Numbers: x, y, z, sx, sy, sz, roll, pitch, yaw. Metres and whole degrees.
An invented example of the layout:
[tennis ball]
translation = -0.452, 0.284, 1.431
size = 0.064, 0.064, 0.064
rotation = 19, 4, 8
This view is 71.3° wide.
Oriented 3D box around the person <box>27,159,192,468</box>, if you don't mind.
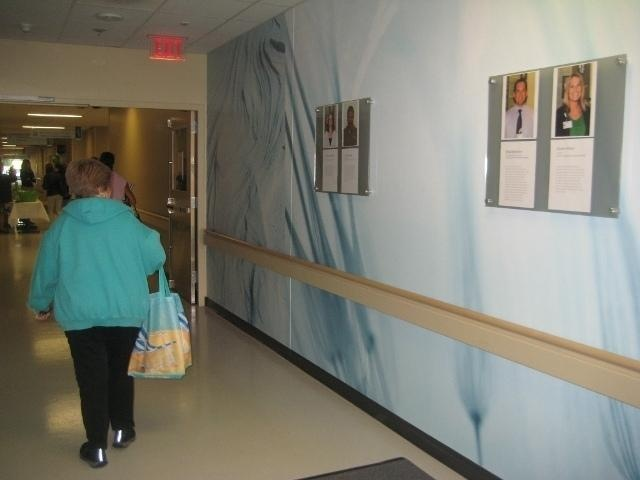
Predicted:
[person]
translation = -1.365, 0.486, 2.921
size = 0.957, 2.002, 0.382
rotation = -3, 8, -25
